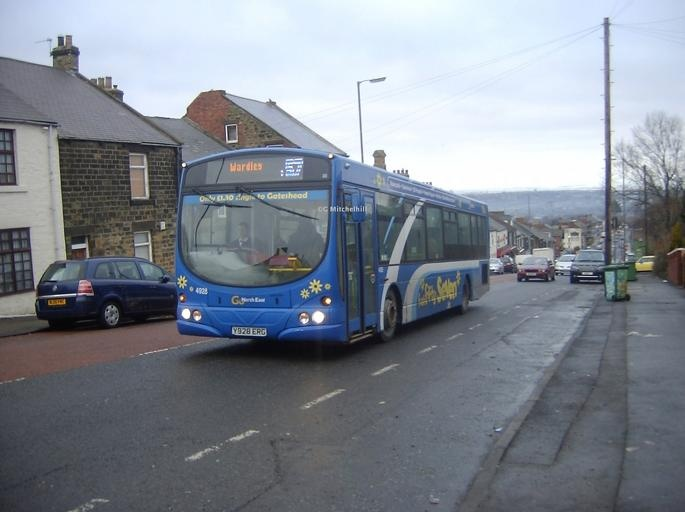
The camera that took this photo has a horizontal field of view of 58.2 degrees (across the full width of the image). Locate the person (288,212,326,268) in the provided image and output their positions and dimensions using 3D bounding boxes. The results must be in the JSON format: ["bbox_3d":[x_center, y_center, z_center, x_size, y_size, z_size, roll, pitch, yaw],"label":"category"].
[{"bbox_3d":[-0.587,-0.273,10.917,0.567,0.912,0.232,1,-6,11],"label":"person"}]

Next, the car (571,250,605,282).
[{"bbox_3d":[14.459,0.616,36.336,1.768,1.808,2.415,-1,3,24],"label":"car"}]

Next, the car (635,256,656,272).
[{"bbox_3d":[25.896,0.634,52.514,2.315,1.354,1.532,0,0,5],"label":"car"}]

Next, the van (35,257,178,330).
[{"bbox_3d":[-6.344,0.898,17.072,1.653,1.416,3.903,-2,0,31],"label":"van"}]

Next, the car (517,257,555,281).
[{"bbox_3d":[12.924,0.897,41.171,1.878,1.576,2.543,-1,3,28],"label":"car"}]
